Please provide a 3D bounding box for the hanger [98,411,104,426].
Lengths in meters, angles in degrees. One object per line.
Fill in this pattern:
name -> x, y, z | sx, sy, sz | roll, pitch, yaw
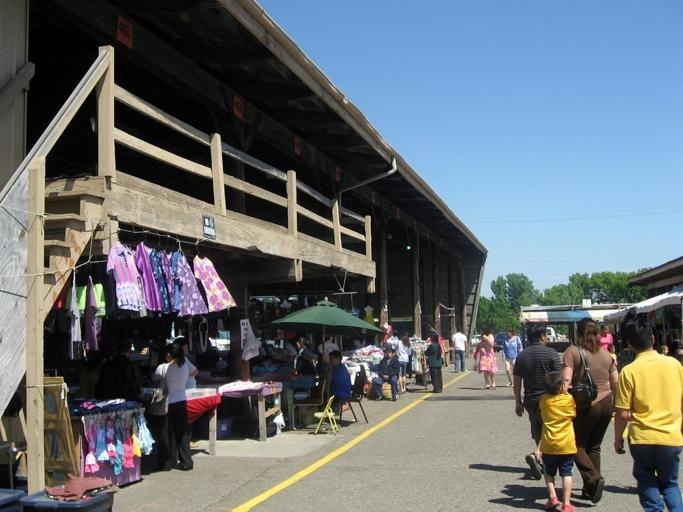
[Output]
hanger -> -3.368, 2.302, 8.479 | 0.012, 0.176, 0.133 | -8, -12, 22

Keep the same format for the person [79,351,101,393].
person -> -4.503, 2.143, 10.793 | 0.477, 0.795, 0.220 | -9, -12, 24

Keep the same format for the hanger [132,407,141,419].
hanger -> -3.068, 2.360, 9.086 | 0.036, 0.156, 0.157 | -8, -12, 22

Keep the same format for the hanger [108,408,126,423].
hanger -> -3.249, 2.326, 8.732 | 0.109, 0.264, 0.147 | 0, -29, 3

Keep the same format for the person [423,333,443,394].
person -> 2.888, 3.330, 18.744 | 0.513, 1.816, 0.950 | -5, -11, 8

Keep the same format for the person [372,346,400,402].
person -> 1.320, 3.471, 17.647 | 0.561, 1.509, 0.860 | 8, -16, -44

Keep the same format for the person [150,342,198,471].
person -> -2.681, 2.421, 9.729 | 0.560, 2.018, 0.363 | 1, -12, -20

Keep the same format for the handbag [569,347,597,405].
handbag -> 3.078, 1.565, 7.637 | 0.272, 0.704, 0.468 | 3, -19, -19

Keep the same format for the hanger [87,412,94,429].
hanger -> -3.450, 2.270, 8.298 | 0.032, 0.142, 0.129 | -7, -10, 16

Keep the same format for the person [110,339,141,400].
person -> -3.508, 1.864, 9.868 | 0.481, 1.007, 0.415 | -13, -15, 41

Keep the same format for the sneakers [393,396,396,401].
sneakers -> 1.535, 4.092, 17.244 | 0.068, 0.095, 0.127 | 1, 0, -8

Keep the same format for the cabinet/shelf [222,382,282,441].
cabinet/shelf -> -1.759, 2.793, 11.795 | 0.877, 0.842, 1.502 | -3, -6, 15

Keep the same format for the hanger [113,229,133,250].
hanger -> -3.182, -0.249, 8.783 | 0.075, 0.273, 0.357 | -7, -12, 22

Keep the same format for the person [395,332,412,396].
person -> 2.028, 3.642, 20.561 | 0.680, 1.707, 0.757 | 7, -36, 2

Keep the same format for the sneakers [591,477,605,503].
sneakers -> 3.090, 2.834, 7.312 | 0.108, 0.362, 0.141 | 6, 3, 8

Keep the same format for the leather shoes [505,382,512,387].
leather shoes -> 5.509, 4.273, 19.879 | 0.236, 0.107, 0.083 | -1, -16, -9
